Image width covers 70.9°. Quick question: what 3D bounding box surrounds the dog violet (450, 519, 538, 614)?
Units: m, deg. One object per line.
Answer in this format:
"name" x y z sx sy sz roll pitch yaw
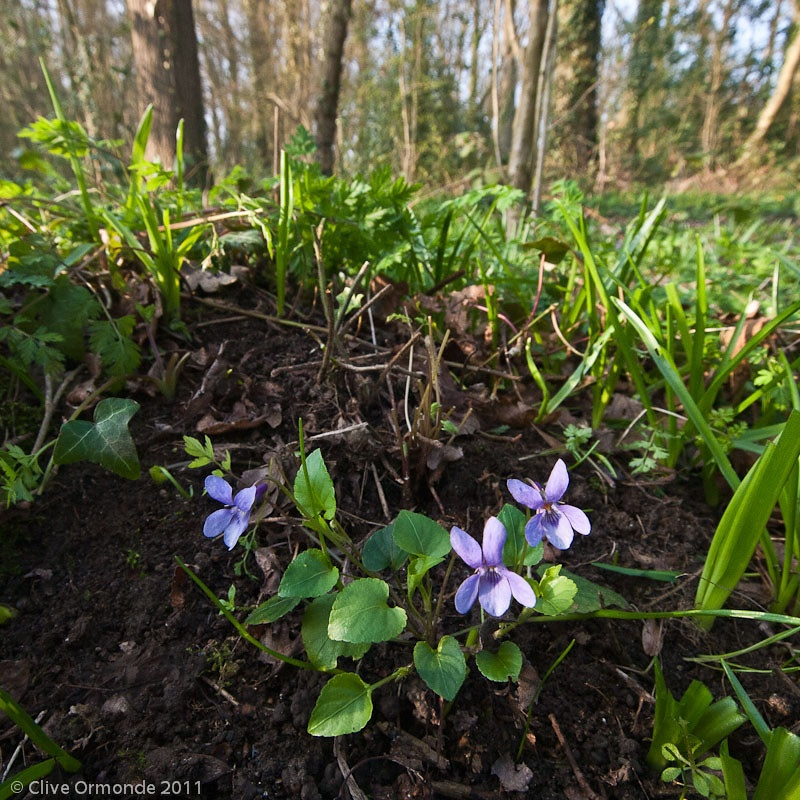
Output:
"dog violet" 0.161 0.338 1.094 0.165 0.081 0.192 -13 72 -20

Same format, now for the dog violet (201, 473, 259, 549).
"dog violet" -0.393 0.249 1.325 0.114 0.164 0.225 -3 30 -9
